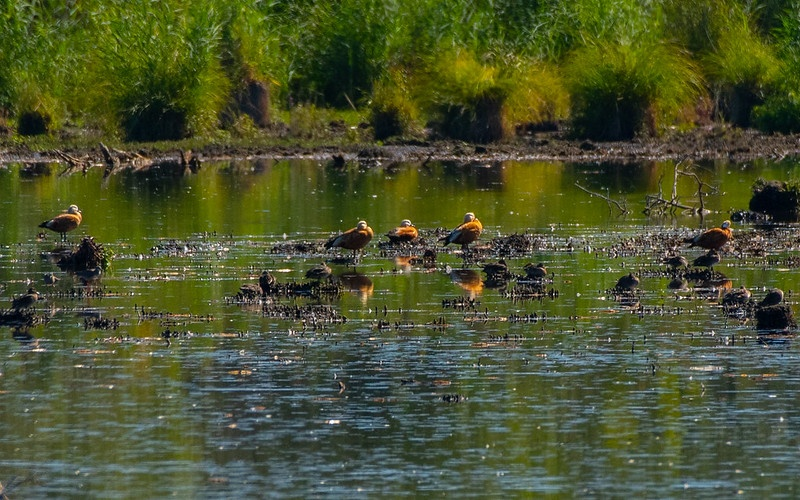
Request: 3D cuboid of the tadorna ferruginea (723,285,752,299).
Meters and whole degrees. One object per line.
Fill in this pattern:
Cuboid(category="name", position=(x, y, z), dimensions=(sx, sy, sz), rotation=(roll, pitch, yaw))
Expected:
Cuboid(category="tadorna ferruginea", position=(8.360, 1.110, 41.845), dimensions=(0.604, 0.332, 0.422), rotation=(3, 93, -9))

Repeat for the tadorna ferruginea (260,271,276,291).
Cuboid(category="tadorna ferruginea", position=(-3.421, 0.866, 42.849), dimensions=(0.366, 0.187, 0.494), rotation=(-2, 82, -10))

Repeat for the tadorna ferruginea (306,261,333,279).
Cuboid(category="tadorna ferruginea", position=(-2.117, 0.599, 43.616), dimensions=(0.573, 0.320, 0.437), rotation=(-1, 87, -7))

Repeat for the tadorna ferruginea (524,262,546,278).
Cuboid(category="tadorna ferruginea", position=(3.471, 0.608, 43.829), dimensions=(0.336, 0.474, 0.344), rotation=(-2, 89, -7))

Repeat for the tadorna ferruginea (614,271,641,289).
Cuboid(category="tadorna ferruginea", position=(5.757, 0.923, 42.871), dimensions=(0.618, 0.518, 0.422), rotation=(-1, 78, 0))

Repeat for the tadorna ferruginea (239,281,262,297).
Cuboid(category="tadorna ferruginea", position=(-3.807, 1.053, 42.322), dimensions=(0.377, 0.351, 0.148), rotation=(14, 115, 30))

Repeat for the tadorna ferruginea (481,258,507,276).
Cuboid(category="tadorna ferruginea", position=(2.496, 0.532, 44.246), dimensions=(0.574, 0.329, 0.421), rotation=(1, 90, 29))

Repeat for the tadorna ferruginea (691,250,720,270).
Cuboid(category="tadorna ferruginea", position=(8.015, 0.327, 44.347), dimensions=(0.706, 0.354, 0.465), rotation=(1, 105, 17))
